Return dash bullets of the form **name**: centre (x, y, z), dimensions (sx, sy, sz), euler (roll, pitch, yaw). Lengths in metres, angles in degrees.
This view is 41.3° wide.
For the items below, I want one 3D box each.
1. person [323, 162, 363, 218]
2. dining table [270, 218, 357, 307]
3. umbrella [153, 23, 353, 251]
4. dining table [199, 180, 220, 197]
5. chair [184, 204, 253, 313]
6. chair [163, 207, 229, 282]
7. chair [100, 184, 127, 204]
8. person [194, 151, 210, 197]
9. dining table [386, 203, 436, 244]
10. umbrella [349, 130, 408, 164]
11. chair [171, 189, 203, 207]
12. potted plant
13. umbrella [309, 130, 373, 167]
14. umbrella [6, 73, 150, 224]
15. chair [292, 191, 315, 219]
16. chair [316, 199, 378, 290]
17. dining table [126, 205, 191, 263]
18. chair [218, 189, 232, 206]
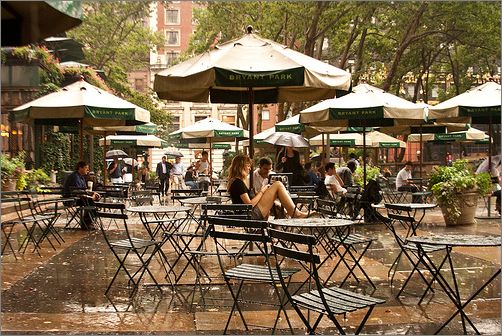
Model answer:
- **person**: centre (2.851, 0.730, 21.065), dimensions (1.091, 1.909, 1.028), euler (-8, 3, -7)
- **dining table**: centre (1.452, 1.998, 15.504), dimensions (1.621, 1.137, 1.734), euler (-2, 2, 12)
- **umbrella**: centre (-0.048, -1.719, 17.793), dimensions (5.366, 3.867, 5.113), euler (-3, 3, -33)
- **dining table**: centre (-1.952, 0.919, 31.170), dimensions (0.782, 0.885, 0.794), euler (0, -4, -5)
- **chair**: centre (-0.925, 1.835, 15.575), dimensions (1.780, 2.722, 1.988), euler (0, -13, 5)
- **chair**: centre (-1.273, 1.777, 16.501), dimensions (1.642, 2.478, 1.779), euler (2, -2, -10)
- **chair**: centre (-4.609, 0.846, 22.339), dimensions (0.665, 0.653, 0.525), euler (2, 17, 2)
- **person**: centre (-2.151, 0.407, 30.839), dimensions (0.734, 2.312, 0.872), euler (12, 17, 40)
- **dining table**: centre (4.129, 1.607, 18.359), dimensions (1.278, 0.881, 1.296), euler (6, 8, 34)
- **umbrella**: centre (7.495, -1.224, 39.214), dimensions (2.794, 1.152, 2.712), euler (1, -3, 4)
- **chair**: centre (-1.899, 0.907, 19.912), dimensions (0.734, 0.491, 0.287), euler (0, 13, -11)
- **potted plant**: centre (6.618, 0.779, 21.225), dimensions (1.988, 2.148, 2.002), euler (3, -7, -29)
- **umbrella**: centre (4.066, -0.974, 32.980), dimensions (2.023, 1.389, 2.180), euler (-4, 0, 44)
- **umbrella**: centre (-5.326, -1.114, 20.576), dimensions (3.557, 2.644, 3.539), euler (-6, 5, -45)
- **chair**: centre (1.419, 0.957, 17.867), dimensions (0.772, 0.802, 0.608), euler (0, -15, 0)
- **chair**: centre (2.111, 1.726, 15.571), dimensions (0.985, 1.263, 0.927), euler (5, 1, -8)
- **dining table**: centre (-2.489, 1.714, 16.912), dimensions (1.510, 1.056, 1.551), euler (1, 2, 27)
- **chair**: centre (-0.750, 0.855, 19.339), dimensions (0.439, 0.288, 0.619), euler (0, 1, 2)
